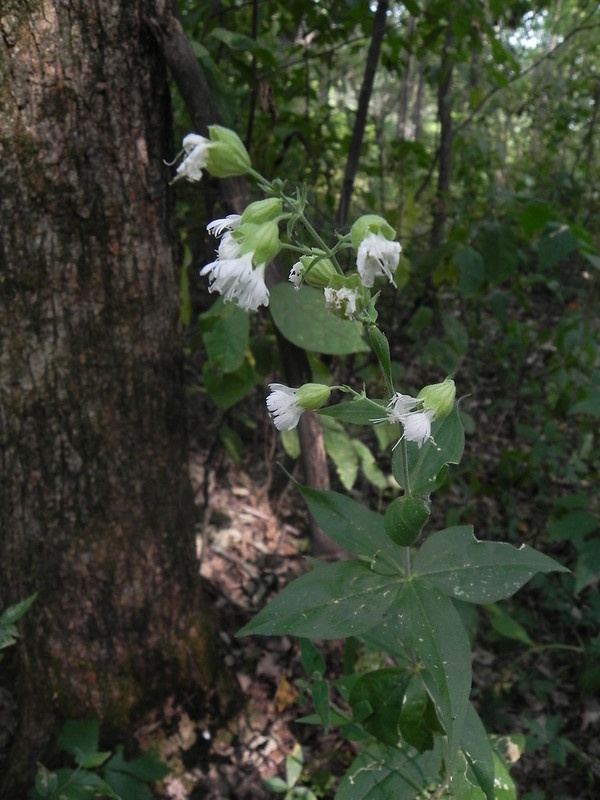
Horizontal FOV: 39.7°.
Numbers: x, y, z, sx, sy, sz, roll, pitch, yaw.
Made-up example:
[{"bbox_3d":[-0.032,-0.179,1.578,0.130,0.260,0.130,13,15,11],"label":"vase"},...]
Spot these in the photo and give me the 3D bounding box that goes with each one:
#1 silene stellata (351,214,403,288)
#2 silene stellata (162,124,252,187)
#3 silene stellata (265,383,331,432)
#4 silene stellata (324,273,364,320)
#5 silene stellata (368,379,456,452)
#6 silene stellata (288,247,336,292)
[{"bbox_3d":[0.175,-0.333,1.855,0.111,0.160,0.073,-23,-3,-16],"label":"silene stellata"},{"bbox_3d":[-0.199,-0.589,1.998,0.170,0.115,0.176,10,4,-11],"label":"silene stellata"},{"bbox_3d":[-0.013,0.017,2.115,0.144,0.106,0.157,11,4,-2],"label":"silene stellata"},{"bbox_3d":[0.106,-0.248,1.991,0.042,0.097,0.115,-12,8,-40],"label":"silene stellata"},{"bbox_3d":[0.281,0.030,1.919,0.234,0.082,0.140,-29,16,19],"label":"silene stellata"},{"bbox_3d":[0.046,-0.313,2.011,0.116,0.082,0.153,10,4,-14],"label":"silene stellata"}]
